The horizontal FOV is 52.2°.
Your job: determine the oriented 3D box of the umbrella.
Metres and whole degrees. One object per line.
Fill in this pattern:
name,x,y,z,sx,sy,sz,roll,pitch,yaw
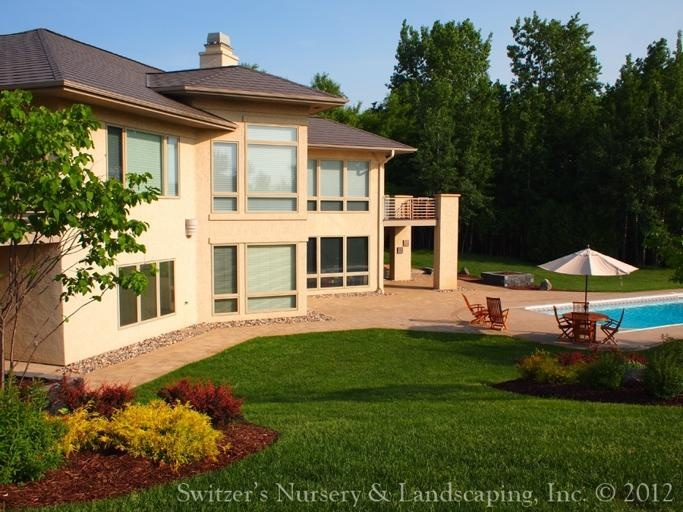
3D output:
umbrella,8.335,1.471,23.910,3.257,3.410,3.432,0,4,10
